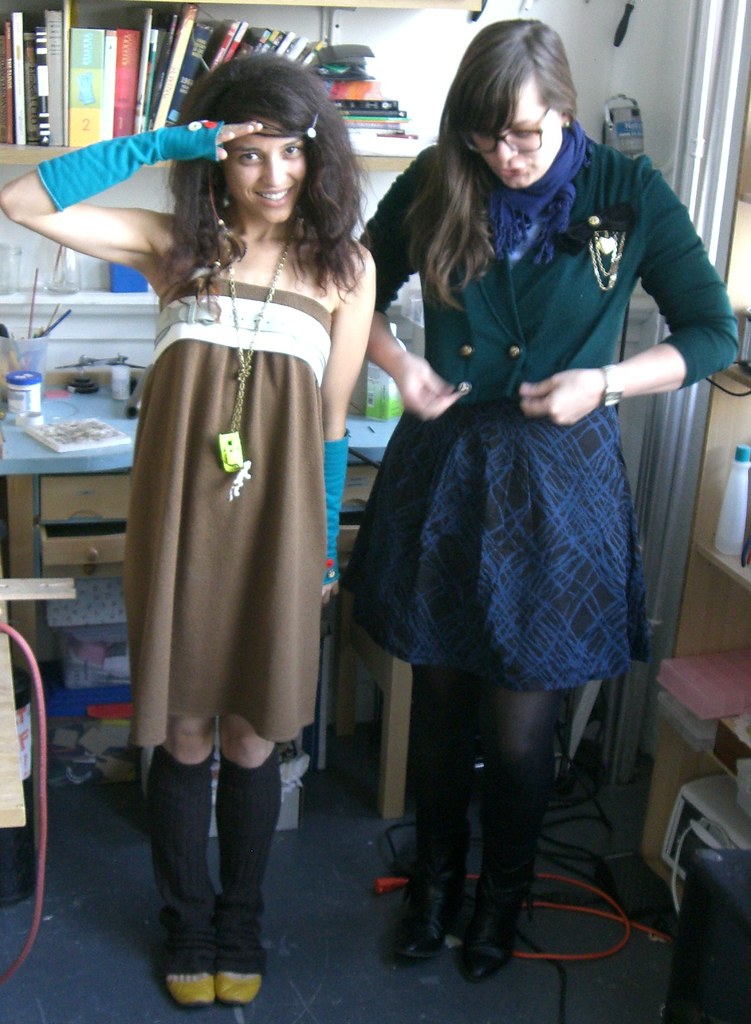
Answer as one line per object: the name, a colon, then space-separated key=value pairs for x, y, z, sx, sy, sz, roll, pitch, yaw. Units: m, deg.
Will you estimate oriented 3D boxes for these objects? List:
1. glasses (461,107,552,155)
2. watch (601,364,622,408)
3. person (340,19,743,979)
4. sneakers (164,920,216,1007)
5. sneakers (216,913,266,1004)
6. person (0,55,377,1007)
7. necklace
glasses: x=0.175 y=-0.509 z=1.136 sx=0.099 sy=0.052 sz=0.045 roll=6 pitch=16 yaw=15
watch: x=0.341 y=-0.189 z=1.249 sx=0.042 sy=0.053 sz=0.053 roll=0 pitch=4 yaw=-1
person: x=0.231 y=0.093 z=1.416 sx=0.596 sy=1.616 sz=0.334 roll=5 pitch=16 yaw=10
sneakers: x=-0.337 y=0.821 z=1.537 sx=0.062 sy=0.075 sz=0.185 roll=1 pitch=-1 yaw=-11
sneakers: x=-0.223 y=0.820 z=1.527 sx=0.061 sy=0.123 sz=0.180 roll=-1 pitch=-9 yaw=-3
person: x=-0.279 y=0.118 z=1.388 sx=0.500 sy=1.574 sz=0.295 roll=3 pitch=15 yaw=3
necklace: x=-0.190 y=-0.197 z=1.244 sx=0.066 sy=0.356 sz=0.148 roll=6 pitch=16 yaw=14
